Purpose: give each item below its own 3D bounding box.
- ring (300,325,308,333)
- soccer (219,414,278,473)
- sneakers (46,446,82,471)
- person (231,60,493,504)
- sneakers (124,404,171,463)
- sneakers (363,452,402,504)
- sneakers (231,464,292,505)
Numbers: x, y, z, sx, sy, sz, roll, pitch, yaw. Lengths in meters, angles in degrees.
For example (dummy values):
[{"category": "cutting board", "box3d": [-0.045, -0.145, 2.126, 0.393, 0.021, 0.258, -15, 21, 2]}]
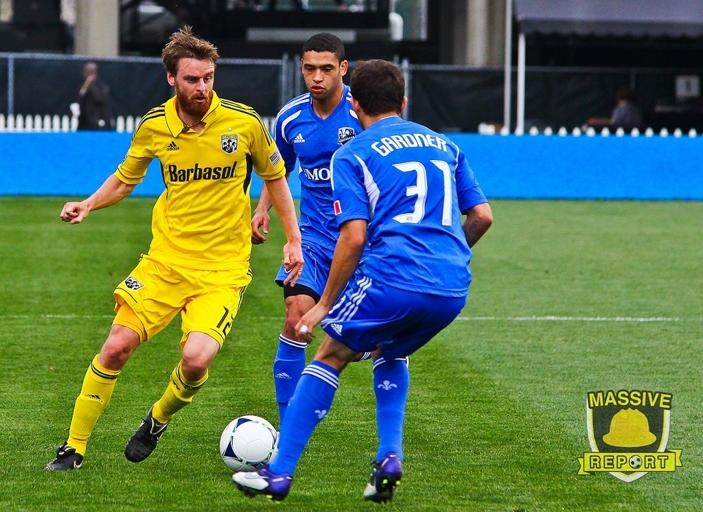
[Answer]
[{"category": "ring", "box3d": [-0.352, 0.530, 10.007, 0.054, 0.051, 0.013, 16, 6, 12]}, {"category": "soccer", "box3d": [-0.810, 1.409, 10.395, 0.414, 0.400, 0.404, 1, 37, -15]}, {"category": "sneakers", "box3d": [-2.172, 1.538, 10.378, 0.297, 0.130, 0.133, 4, 3, -29]}, {"category": "person", "box3d": [0.218, 0.173, 10.039, 1.569, 3.180, 0.660, 3, 9, -6]}, {"category": "sneakers", "box3d": [-1.580, 1.403, 10.508, 0.193, 0.534, 0.212, 41, -9, -22]}, {"category": "sneakers", "box3d": [0.236, 1.604, 9.872, 0.171, 0.234, 0.454, 18, -31, -3]}, {"category": "sneakers", "box3d": [-0.638, 1.641, 9.872, 0.506, 0.177, 0.279, 10, 40, 3]}]
